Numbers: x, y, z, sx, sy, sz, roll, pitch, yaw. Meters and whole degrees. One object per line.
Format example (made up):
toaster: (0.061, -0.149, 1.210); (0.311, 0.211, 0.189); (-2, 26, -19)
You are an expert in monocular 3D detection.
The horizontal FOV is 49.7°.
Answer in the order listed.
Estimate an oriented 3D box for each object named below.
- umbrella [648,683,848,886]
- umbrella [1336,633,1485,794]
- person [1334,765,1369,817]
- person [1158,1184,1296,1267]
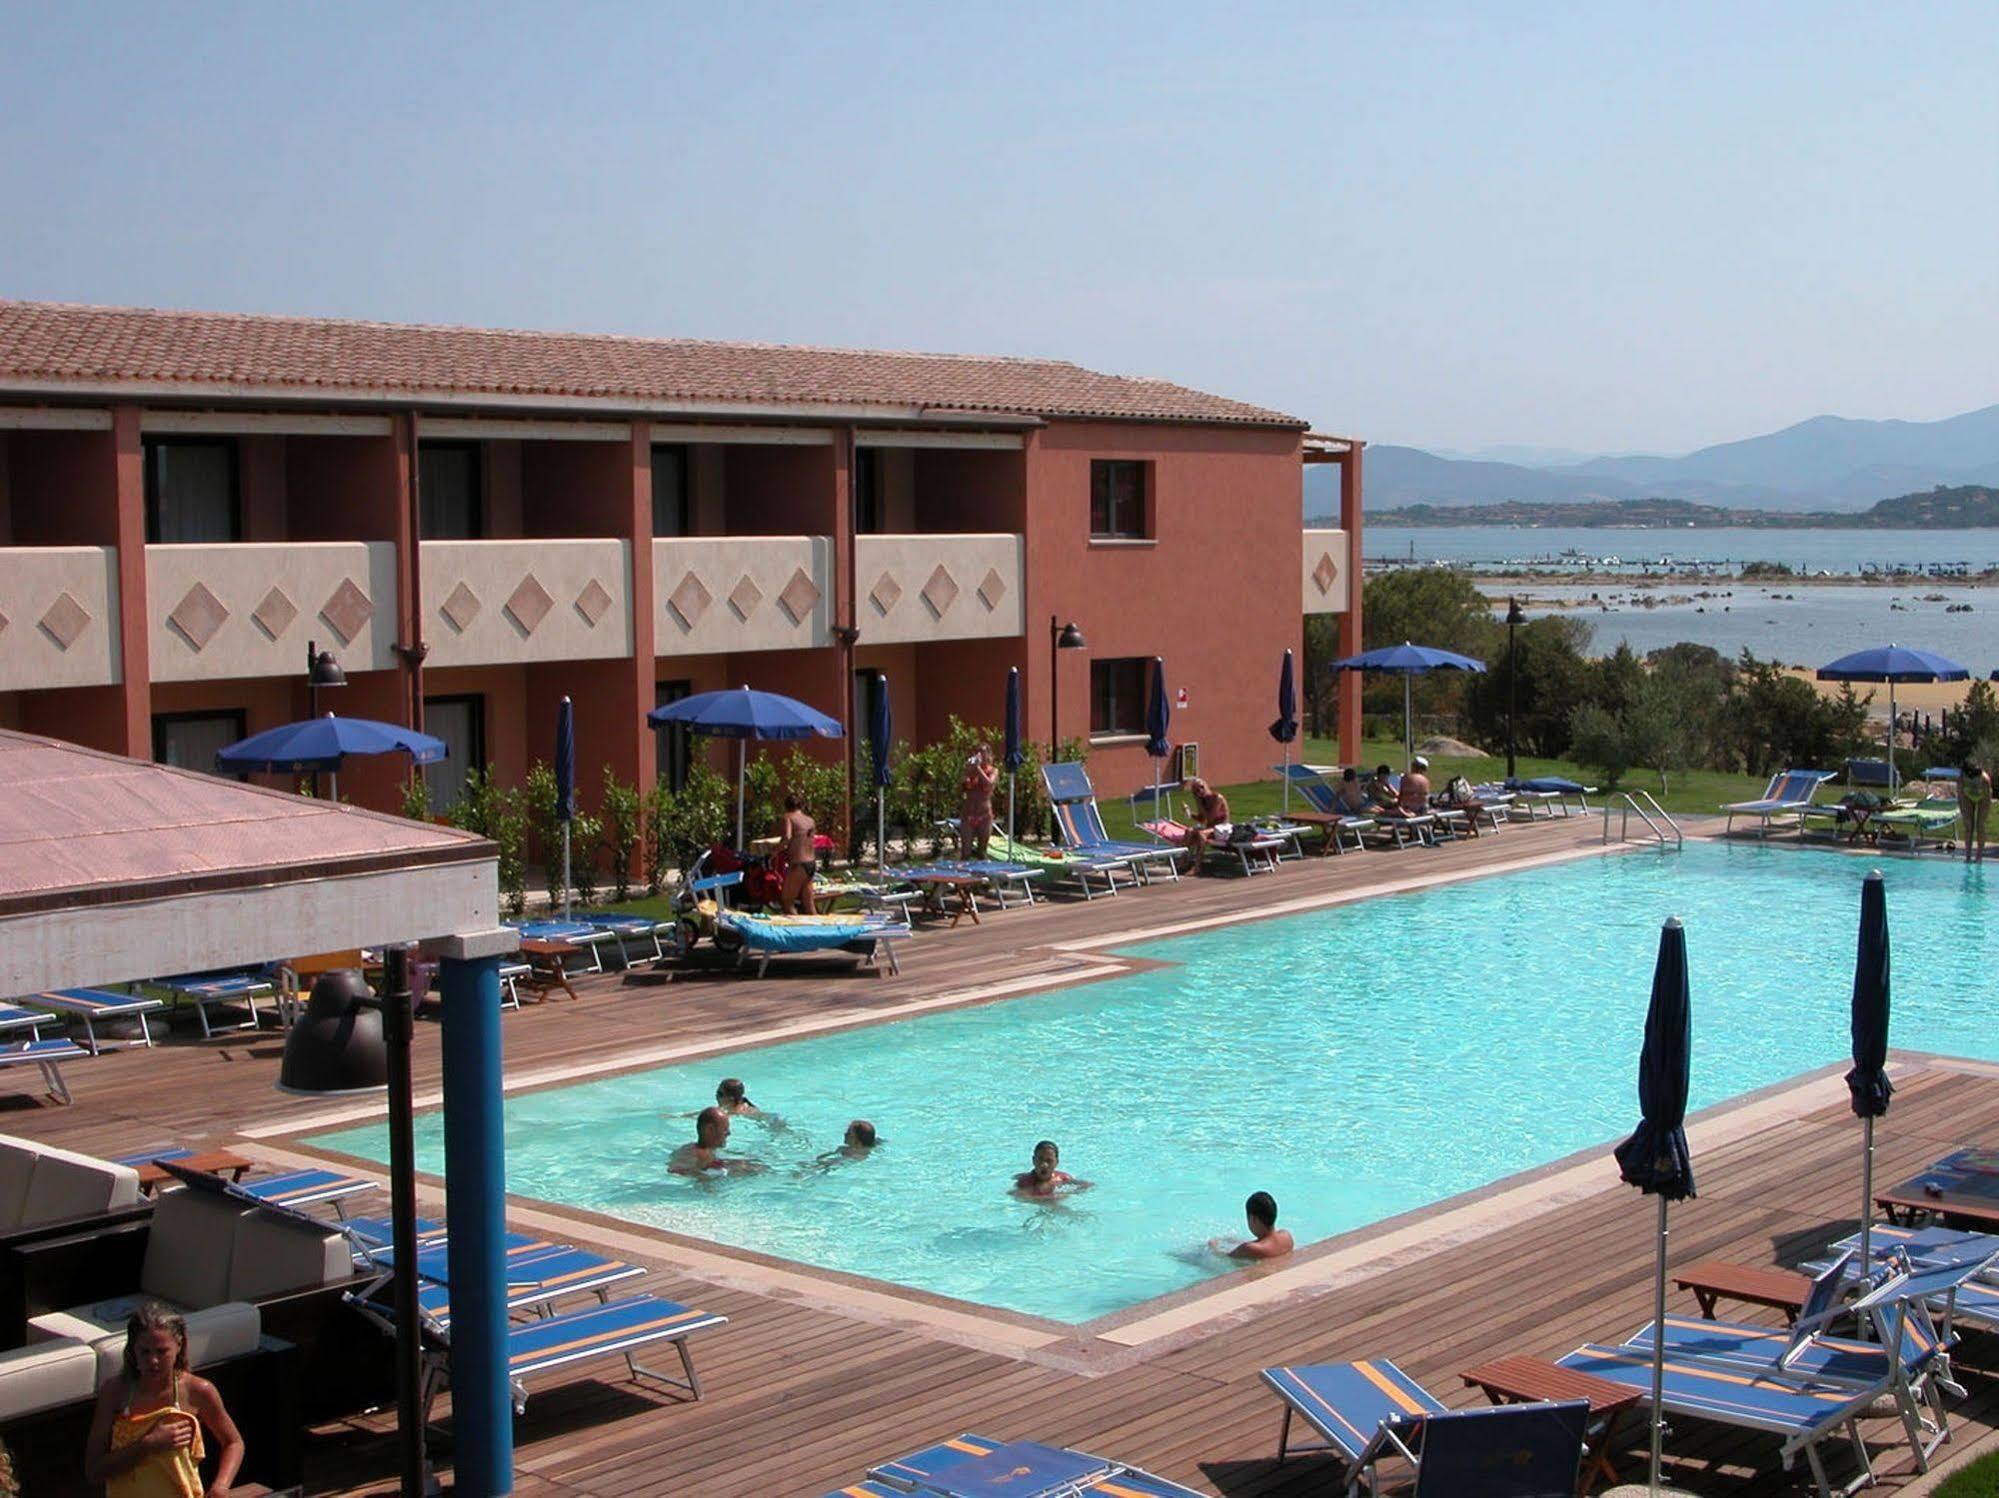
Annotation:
umbrella: (-2.953, 0.307, 24.882); (1.888, 2.033, 1.959); (2, 4, 16)
umbrella: (6.921, -0.999, 35.952); (2.060, 1.942, 2.078); (1, -14, 20)
person: (5.622, 0.694, 34.056); (0.464, 0.789, 0.516); (-29, 28, -35)
person: (1.864, 3.543, 15.892); (0.571, 0.582, 0.755); (-2, 3, -44)
